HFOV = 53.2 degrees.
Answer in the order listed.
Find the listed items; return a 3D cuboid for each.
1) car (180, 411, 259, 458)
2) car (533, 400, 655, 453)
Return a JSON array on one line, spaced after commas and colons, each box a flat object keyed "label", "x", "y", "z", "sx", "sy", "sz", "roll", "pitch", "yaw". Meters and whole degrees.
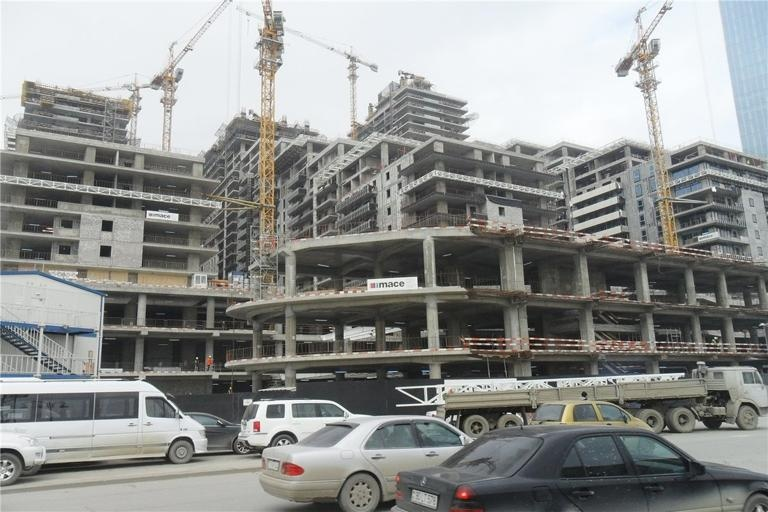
[{"label": "car", "x": -10.343, "y": 9.446, "z": 40.642, "sx": 3.581, "sy": 1.996, "sz": 5.693, "roll": -9, "pitch": -15, "yaw": 31}, {"label": "car", "x": 9.511, "y": 7.573, "z": 34.657, "sx": 4.686, "sy": 1.452, "sz": 2.421, "roll": -1, "pitch": -8, "yaw": -13}]
